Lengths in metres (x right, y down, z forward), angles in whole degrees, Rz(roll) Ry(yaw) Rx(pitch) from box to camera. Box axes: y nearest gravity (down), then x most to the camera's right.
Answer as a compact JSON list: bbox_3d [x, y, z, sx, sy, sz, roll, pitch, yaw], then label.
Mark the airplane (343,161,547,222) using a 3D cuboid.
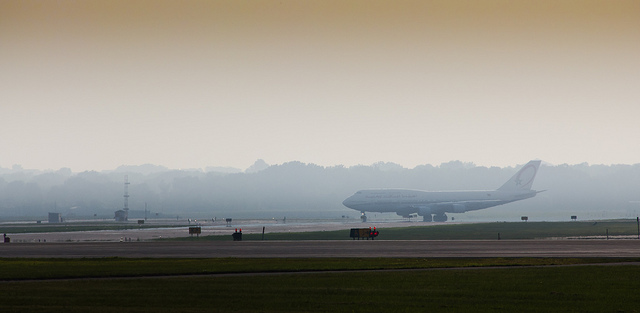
[{"bbox_3d":[30.562,8.498,243.944,42.508,14.206,5.851,1,-9,-5],"label":"airplane"}]
